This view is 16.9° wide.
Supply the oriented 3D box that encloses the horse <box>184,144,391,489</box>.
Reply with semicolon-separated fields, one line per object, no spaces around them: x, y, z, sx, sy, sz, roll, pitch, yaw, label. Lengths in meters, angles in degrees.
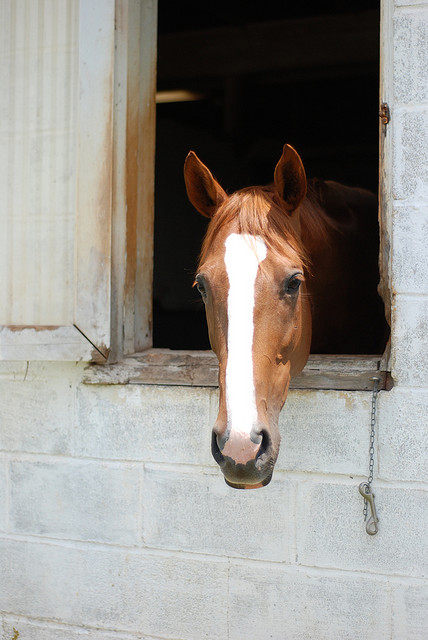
0.358;-0.014;5.881;0.697;1.303;2.000;2;-3;13;horse
